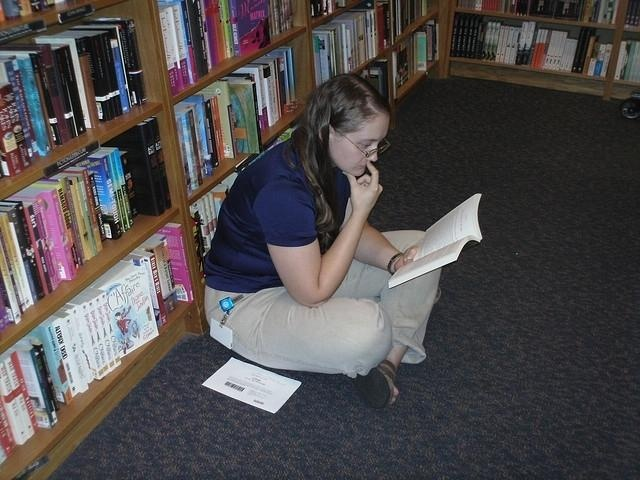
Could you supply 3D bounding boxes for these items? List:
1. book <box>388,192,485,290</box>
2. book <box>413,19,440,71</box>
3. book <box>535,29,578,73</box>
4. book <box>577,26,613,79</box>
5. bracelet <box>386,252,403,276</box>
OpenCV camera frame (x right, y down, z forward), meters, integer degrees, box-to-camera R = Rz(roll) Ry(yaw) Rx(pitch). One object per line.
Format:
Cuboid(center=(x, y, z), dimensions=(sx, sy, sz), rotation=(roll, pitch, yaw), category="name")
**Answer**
Cuboid(center=(0.455, 0.000, 1.795), dimensions=(0.288, 0.309, 0.408), rotation=(14, 32, 21), category="book")
Cuboid(center=(1.052, -1.936, 4.718), dimensions=(0.096, 0.448, 0.412), rotation=(5, 12, 23), category="book")
Cuboid(center=(2.250, -1.764, 4.632), dimensions=(0.324, 0.474, 0.465), rotation=(10, 19, 12), category="book")
Cuboid(center=(2.529, -1.712, 4.344), dimensions=(0.270, 0.384, 0.133), rotation=(23, 35, 34), category="book")
Cuboid(center=(0.314, 0.097, 1.997), dimensions=(0.089, 0.094, 0.055), rotation=(1, 37, -27), category="bracelet")
